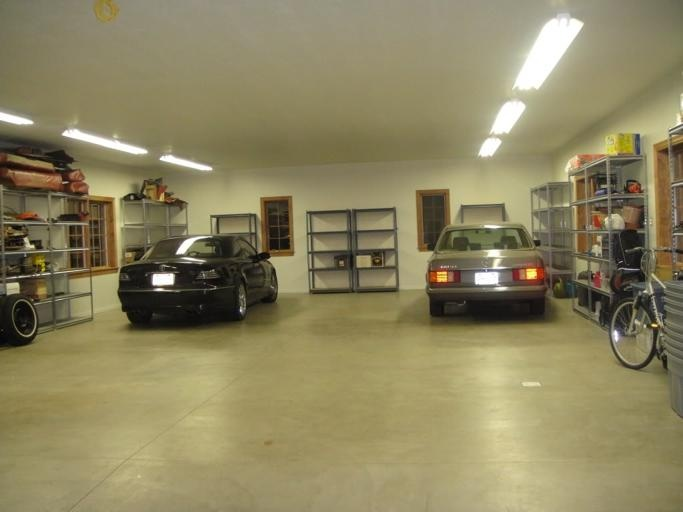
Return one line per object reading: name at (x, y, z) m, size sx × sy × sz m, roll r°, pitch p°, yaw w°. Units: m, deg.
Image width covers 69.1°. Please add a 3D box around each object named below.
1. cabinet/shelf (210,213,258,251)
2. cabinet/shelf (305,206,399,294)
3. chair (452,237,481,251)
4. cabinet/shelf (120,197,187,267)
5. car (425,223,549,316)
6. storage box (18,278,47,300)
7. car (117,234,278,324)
cabinet/shelf at (-2.571, -0.616, 12.030) m, size 1.018 × 1.022 × 0.333 m, roll 0°, pitch 5°, yaw 8°
cabinet/shelf at (0.379, -0.174, 13.223) m, size 2.270 × 2.111 × 0.665 m, roll -1°, pitch -3°, yaw 5°
chair at (2.106, -0.189, 8.315) m, size 0.288 × 0.244 × 0.307 m, roll -1°, pitch -1°, yaw 34°
cabinet/shelf at (-4.425, -0.584, 11.408) m, size 0.558 × 1.650 × 1.772 m, roll 0°, pitch 4°, yaw 17°
car at (2.310, 0.243, 7.907) m, size 1.728 × 1.529 × 1.487 m, roll -1°, pitch 4°, yaw 18°
storage box at (-5.337, 0.570, 8.558) m, size 0.376 × 0.414 × 0.373 m, roll -5°, pitch 5°, yaw -34°
car at (-2.460, 0.358, 9.078) m, size 1.601 × 1.492 × 2.606 m, roll -1°, pitch 5°, yaw 20°
